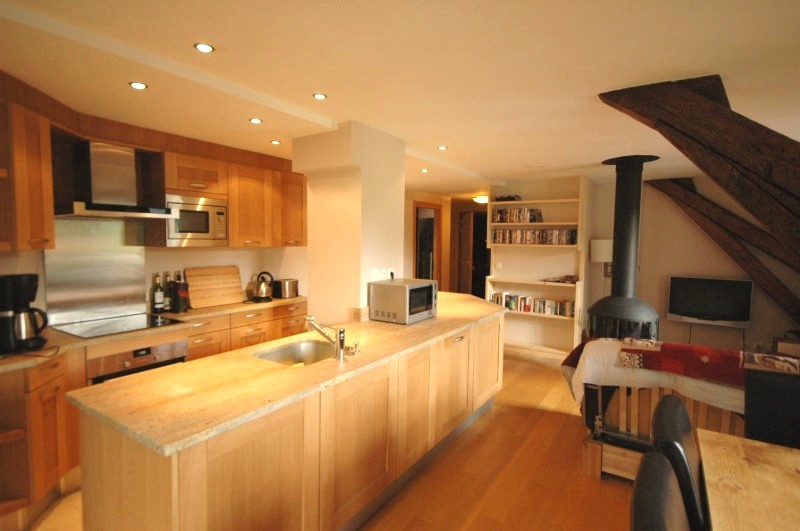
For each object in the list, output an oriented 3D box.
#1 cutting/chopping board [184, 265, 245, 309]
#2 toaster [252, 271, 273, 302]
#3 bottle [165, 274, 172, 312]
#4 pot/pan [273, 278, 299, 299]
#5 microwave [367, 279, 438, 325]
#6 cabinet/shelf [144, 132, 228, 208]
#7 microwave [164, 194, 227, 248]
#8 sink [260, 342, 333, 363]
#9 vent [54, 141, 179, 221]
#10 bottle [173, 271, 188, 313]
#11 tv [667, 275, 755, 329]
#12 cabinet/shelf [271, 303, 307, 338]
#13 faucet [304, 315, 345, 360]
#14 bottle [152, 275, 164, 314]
[{"bbox_3d":[-1.989,0.218,6.025,0.204,0.430,0.719,1,3,33],"label":"cutting/chopping board"},{"bbox_3d":[-1.480,0.234,6.316,0.232,0.359,0.341,-1,-2,4],"label":"toaster"},{"bbox_3d":[-2.343,0.271,5.601,0.065,0.351,0.185,-2,3,-20],"label":"bottle"},{"bbox_3d":[-1.333,0.257,6.376,0.227,0.167,0.243,-1,4,-9],"label":"pot/pan"},{"bbox_3d":[0.008,0.312,4.973,0.411,0.337,0.542,2,3,28],"label":"microwave"},{"bbox_3d":[-2.108,-0.929,5.353,0.275,0.635,0.707,2,3,38],"label":"cabinet/shelf"},{"bbox_3d":[-2.125,-0.382,5.579,0.429,0.578,0.715,2,1,33],"label":"microwave"},{"bbox_3d":[-0.780,0.669,4.201,0.245,0.110,0.318,5,5,37],"label":"sink"},{"bbox_3d":[-2.574,-0.754,4.999,0.971,0.669,0.557,-3,3,-39],"label":"vent"},{"bbox_3d":[-2.233,0.264,5.647,0.146,0.396,0.299,-2,3,-21],"label":"bottle"},{"bbox_3d":[4.003,0.460,7.099,0.699,0.493,0.095,4,5,25],"label":"tv"},{"bbox_3d":[-1.245,0.600,6.068,0.224,0.362,0.394,0,2,31],"label":"cabinet/shelf"},{"bbox_3d":[-0.557,0.523,4.154,0.289,0.283,0.483,-1,2,-6],"label":"faucet"},{"bbox_3d":[-2.408,0.279,5.501,0.113,0.374,0.193,-2,3,-23],"label":"bottle"}]
